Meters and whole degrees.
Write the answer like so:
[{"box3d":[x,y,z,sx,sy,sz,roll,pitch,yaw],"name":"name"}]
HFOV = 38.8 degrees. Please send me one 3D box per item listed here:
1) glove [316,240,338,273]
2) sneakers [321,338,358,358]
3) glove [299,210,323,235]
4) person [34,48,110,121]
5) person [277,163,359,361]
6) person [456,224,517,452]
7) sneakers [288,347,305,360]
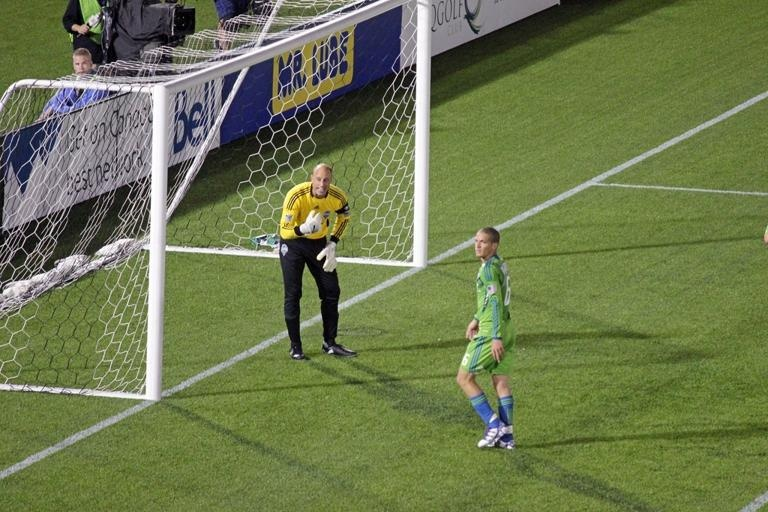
[{"box3d":[-0.671,0.000,12.472,0.213,0.344,0.192,7,16,4],"name":"glove"},{"box3d":[-0.562,1.086,12.908,0.445,0.200,0.160,2,5,11],"name":"sneakers"},{"box3d":[-0.811,-0.377,12.230,0.257,0.109,0.207,-25,29,28],"name":"glove"},{"box3d":[-4.311,-2.345,15.148,0.899,0.941,0.991,1,18,-17],"name":"person"},{"box3d":[-0.800,0.065,12.558,0.838,2.346,0.460,2,16,-11],"name":"person"},{"box3d":[1.153,0.875,11.400,0.672,2.268,0.524,8,16,7],"name":"person"},{"box3d":[-1.018,1.133,12.769,0.098,0.093,0.196,-1,3,-34],"name":"sneakers"}]
